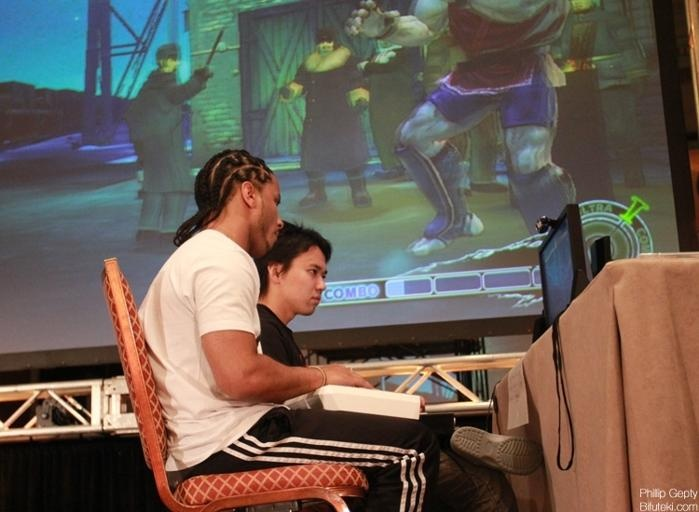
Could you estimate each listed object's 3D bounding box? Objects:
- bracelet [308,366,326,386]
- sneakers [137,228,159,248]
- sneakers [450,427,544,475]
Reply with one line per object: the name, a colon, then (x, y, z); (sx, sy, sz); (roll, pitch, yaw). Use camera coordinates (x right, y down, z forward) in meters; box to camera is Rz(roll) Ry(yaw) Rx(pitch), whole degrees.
bracelet: (-0.161, 0.582, 3.963); (0.057, 0.084, 0.080); (2, 28, -18)
sneakers: (-1.822, -0.152, 7.333); (0.166, 0.126, 0.176); (-1, -2, 5)
sneakers: (0.743, 0.962, 4.100); (0.473, 0.190, 0.192); (22, -7, 22)
